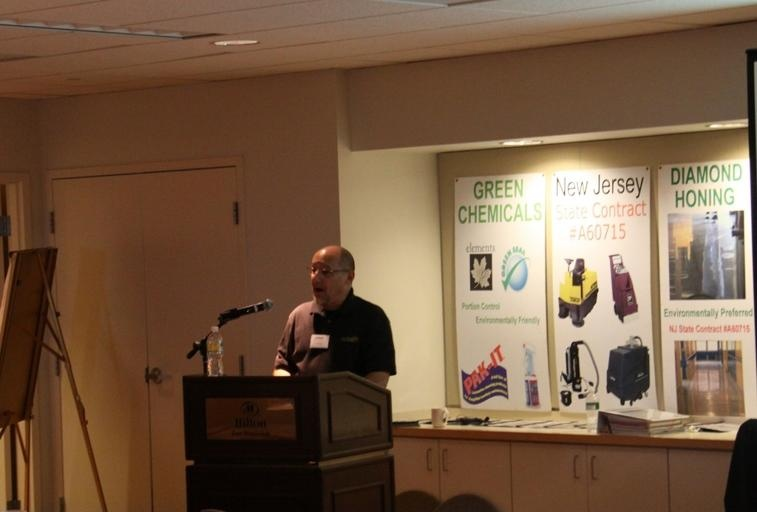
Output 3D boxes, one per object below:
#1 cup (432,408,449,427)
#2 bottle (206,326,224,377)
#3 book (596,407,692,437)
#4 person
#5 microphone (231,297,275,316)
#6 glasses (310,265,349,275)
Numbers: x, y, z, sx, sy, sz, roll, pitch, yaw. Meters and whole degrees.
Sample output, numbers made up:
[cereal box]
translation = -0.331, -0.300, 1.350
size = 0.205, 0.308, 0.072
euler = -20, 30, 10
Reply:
[cup]
translation = 0.467, 1.231, 6.640
size = 0.128, 0.140, 0.102
euler = 1, -3, 21
[bottle]
translation = -0.999, 0.568, 5.277
size = 0.095, 0.288, 0.321
euler = 0, -5, -13
[book]
translation = 1.919, 1.194, 6.328
size = 0.680, 0.168, 0.341
euler = -2, -6, 8
[person]
translation = -0.320, 0.577, 5.829
size = 0.786, 1.238, 0.607
euler = -2, -15, 18
[microphone]
translation = -0.873, 0.353, 6.120
size = 0.333, 0.107, 0.089
euler = -17, -37, 41
[glasses]
translation = -0.303, 0.087, 5.746
size = 0.260, 0.089, 0.089
euler = 0, -5, -5
